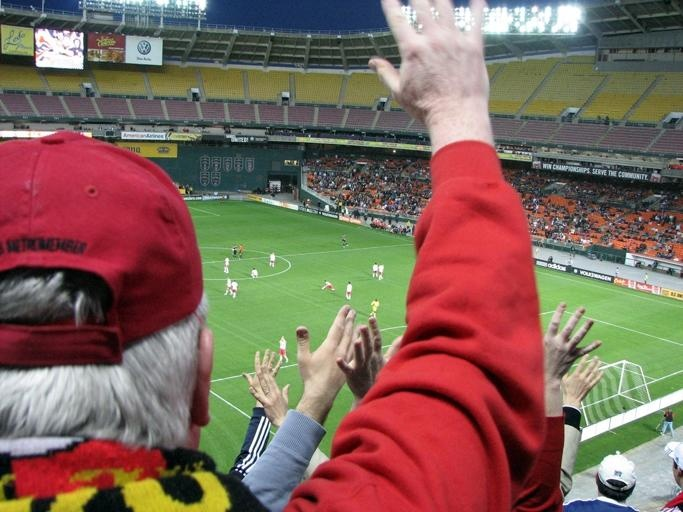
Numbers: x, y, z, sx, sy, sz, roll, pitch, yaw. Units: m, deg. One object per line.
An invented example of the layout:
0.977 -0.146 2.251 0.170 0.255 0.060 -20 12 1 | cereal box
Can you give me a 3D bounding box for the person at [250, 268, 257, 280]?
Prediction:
-7.569 1.567 39.308 0.888 0.998 0.654 -2 -10 17 | person
